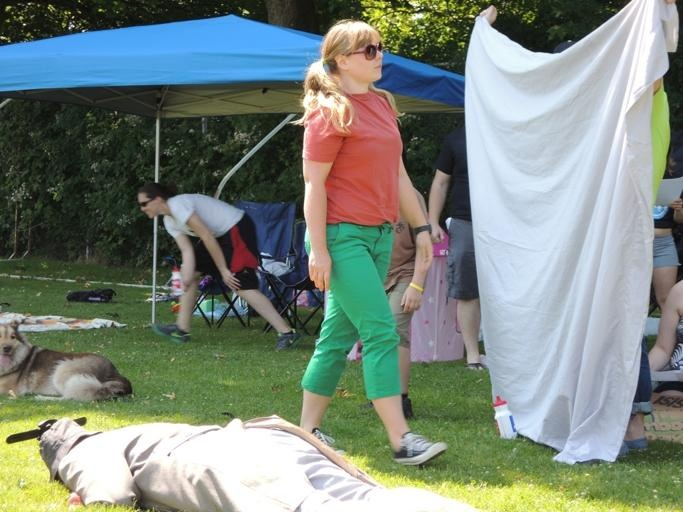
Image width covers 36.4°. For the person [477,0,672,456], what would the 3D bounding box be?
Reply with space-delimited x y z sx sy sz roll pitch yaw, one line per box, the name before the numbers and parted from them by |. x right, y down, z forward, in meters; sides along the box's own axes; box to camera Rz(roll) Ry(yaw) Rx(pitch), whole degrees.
person | 1.494 -0.170 7.057 0.656 2.962 1.439 -2 1 -36

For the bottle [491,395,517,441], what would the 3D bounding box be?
bottle | 1.111 1.110 7.112 0.143 0.309 0.123 -11 -31 -13

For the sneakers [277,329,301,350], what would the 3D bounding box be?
sneakers | -0.517 0.823 9.962 0.147 0.107 0.298 31 -39 -19

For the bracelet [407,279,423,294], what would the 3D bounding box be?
bracelet | 0.482 0.204 6.936 0.079 0.021 0.079 24 -4 24

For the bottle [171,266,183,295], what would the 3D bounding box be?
bottle | -1.559 0.239 9.866 0.099 0.081 0.332 7 39 -12

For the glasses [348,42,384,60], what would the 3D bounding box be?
glasses | 0.167 -1.289 6.564 0.146 0.045 0.125 -2 19 28
